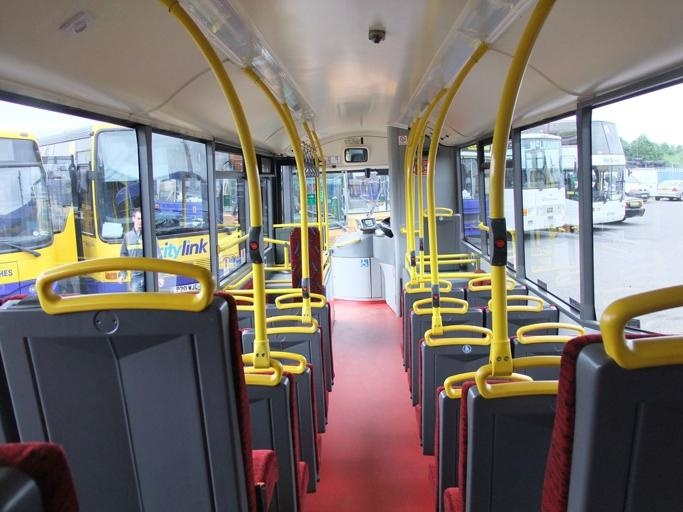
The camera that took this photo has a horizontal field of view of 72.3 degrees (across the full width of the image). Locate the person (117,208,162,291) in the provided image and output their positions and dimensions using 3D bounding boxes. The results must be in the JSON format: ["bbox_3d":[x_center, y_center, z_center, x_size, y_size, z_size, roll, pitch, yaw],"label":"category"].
[{"bbox_3d":[-1.719,0.061,3.833,0.162,0.872,0.355,-1,18,-32],"label":"person"}]
